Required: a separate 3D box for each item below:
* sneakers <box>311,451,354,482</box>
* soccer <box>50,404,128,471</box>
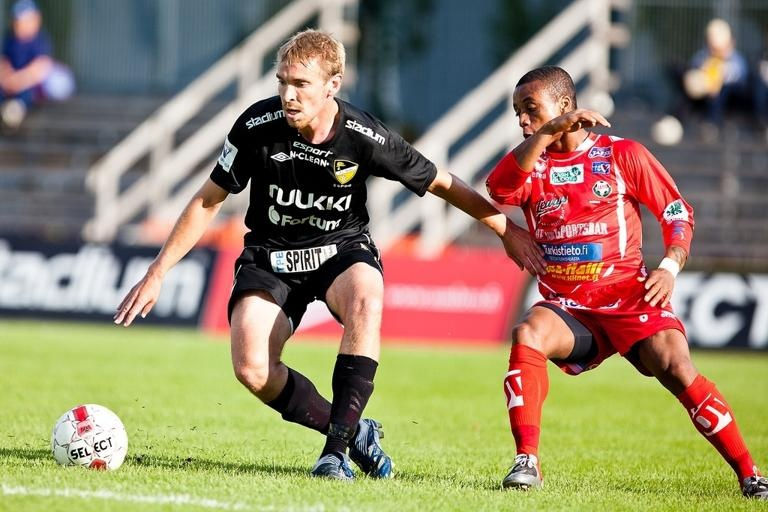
[{"bbox_3d":[-0.468,1.926,10.275,0.393,0.211,0.254,2,4,-5],"label":"sneakers"},{"bbox_3d":[-2.756,1.707,10.464,0.571,0.627,0.577,-14,6,21],"label":"soccer"}]
